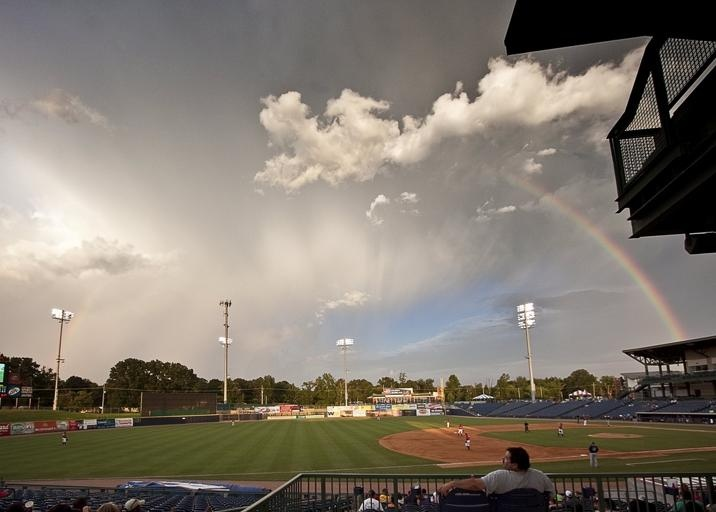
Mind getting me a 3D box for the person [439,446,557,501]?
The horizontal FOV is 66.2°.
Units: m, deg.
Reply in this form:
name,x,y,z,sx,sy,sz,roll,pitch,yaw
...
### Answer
name,x,y,z,sx,sy,sz,roll,pitch,yaw
person,3.945,5.957,15.134,2.751,1.262,0.724,-6,-22,4
